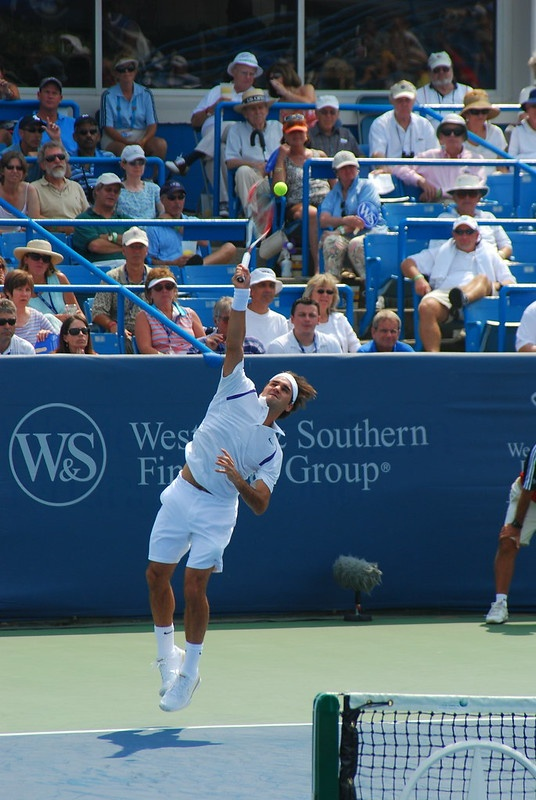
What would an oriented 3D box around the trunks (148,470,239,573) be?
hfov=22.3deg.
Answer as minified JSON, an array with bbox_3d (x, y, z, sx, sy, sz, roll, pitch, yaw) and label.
[{"bbox_3d":[-0.334,0.557,6.269,0.353,0.461,0.238,16,-4,6],"label":"trunks"}]

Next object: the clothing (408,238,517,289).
[{"bbox_3d":[1.403,-1.020,9.816,0.619,0.395,0.330,-2,0,34],"label":"clothing"}]

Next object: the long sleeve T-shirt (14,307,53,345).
[{"bbox_3d":[-1.464,-0.452,8.473,0.239,0.242,0.129,3,-8,-20],"label":"long sleeve T-shirt"}]

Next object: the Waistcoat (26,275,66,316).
[{"bbox_3d":[-1.452,-0.670,8.882,0.295,0.225,0.159,-1,6,22],"label":"Waistcoat"}]

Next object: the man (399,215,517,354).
[{"bbox_3d":[1.298,-0.783,9.539,0.770,1.279,1.016,8,-6,12],"label":"man"}]

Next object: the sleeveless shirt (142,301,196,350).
[{"bbox_3d":[-0.549,-0.452,8.379,0.254,0.328,0.180,-5,0,23],"label":"sleeveless shirt"}]

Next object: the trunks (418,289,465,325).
[{"bbox_3d":[1.213,-0.657,9.370,0.151,0.159,0.328,-14,12,-11],"label":"trunks"}]

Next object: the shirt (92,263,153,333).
[{"bbox_3d":[-0.923,-0.639,8.745,0.458,0.445,0.253,6,-6,-22],"label":"shirt"}]

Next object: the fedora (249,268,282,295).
[{"bbox_3d":[-0.015,-0.768,8.717,0.194,0.131,0.249,8,-12,-9],"label":"fedora"}]

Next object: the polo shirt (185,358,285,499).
[{"bbox_3d":[-0.140,0.176,6.137,0.230,0.601,0.550,-21,1,-27],"label":"polo shirt"}]

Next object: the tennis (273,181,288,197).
[{"bbox_3d":[0.115,-1.635,10.697,0.108,0.066,0.108,15,-29,-42],"label":"tennis"}]

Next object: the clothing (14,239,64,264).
[{"bbox_3d":[-1.554,-1.004,9.215,0.345,0.158,0.264,-2,5,-24],"label":"clothing"}]

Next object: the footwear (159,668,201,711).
[{"bbox_3d":[-0.369,1.263,5.968,0.102,0.094,0.238,20,46,21],"label":"footwear"}]

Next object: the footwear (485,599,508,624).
[{"bbox_3d":[1.323,1.202,7.829,0.119,0.150,0.123,0,4,4],"label":"footwear"}]

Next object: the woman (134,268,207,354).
[{"bbox_3d":[-0.601,-0.500,8.356,0.434,0.638,0.362,-8,2,-19],"label":"woman"}]

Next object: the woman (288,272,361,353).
[{"bbox_3d":[0.366,-0.502,8.815,0.443,0.629,0.374,-3,-7,-7],"label":"woman"}]
